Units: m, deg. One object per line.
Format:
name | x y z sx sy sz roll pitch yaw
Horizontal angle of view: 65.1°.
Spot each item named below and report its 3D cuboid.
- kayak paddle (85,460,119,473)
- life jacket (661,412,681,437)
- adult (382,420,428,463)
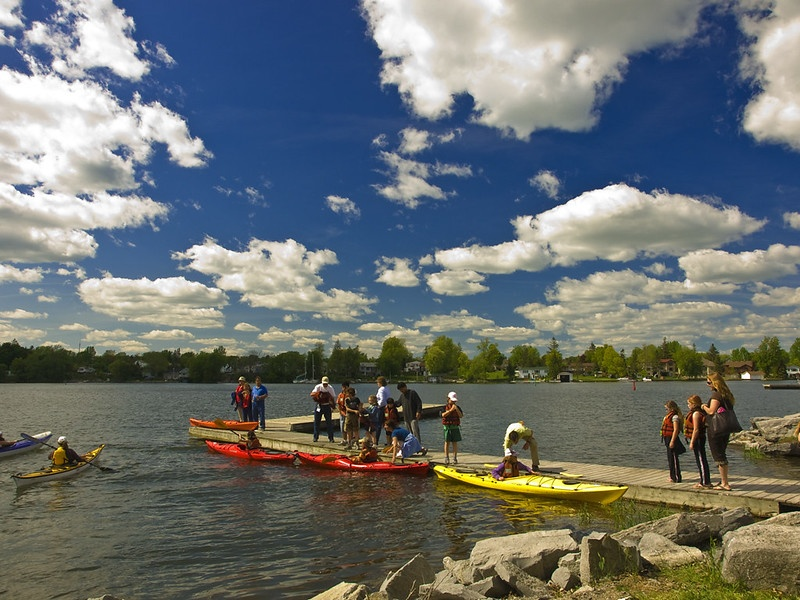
kayak paddle | -13.608 7.616 28.669 1.338 0.191 0.147 21 -16 10
life jacket | 8.975 4.165 20.903 0.466 0.755 0.973 1 -12 -10
adult | 0.069 5.836 26.061 1.436 1.689 1.257 -3 15 22
